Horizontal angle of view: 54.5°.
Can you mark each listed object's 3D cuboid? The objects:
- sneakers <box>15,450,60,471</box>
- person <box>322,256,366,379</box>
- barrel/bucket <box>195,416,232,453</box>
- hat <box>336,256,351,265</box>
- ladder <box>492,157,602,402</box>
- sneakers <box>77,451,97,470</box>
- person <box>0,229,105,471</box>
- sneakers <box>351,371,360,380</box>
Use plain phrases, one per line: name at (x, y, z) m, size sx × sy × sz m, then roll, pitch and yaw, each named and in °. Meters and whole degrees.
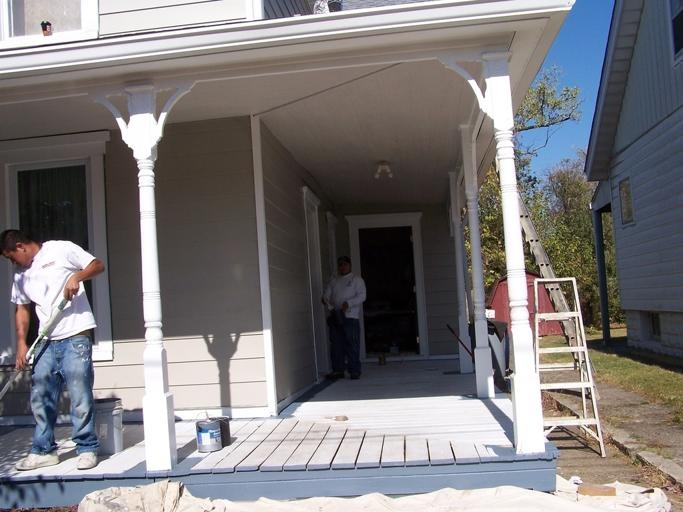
sneakers at (-2.613, 1.776, 5.728) m, size 0.350 × 0.165 × 0.150 m, roll 3°, pitch -6°, yaw -18°
person at (0.078, 0.892, 9.489) m, size 0.432 × 1.728 × 0.560 m, roll 0°, pitch -8°, yaw -30°
barrel/bucket at (-1.141, 1.597, 5.881) m, size 0.196 × 0.285 × 0.334 m, roll -3°, pitch -6°, yaw 20°
hat at (0.031, 0.072, 9.595) m, size 0.116 × 0.150 × 0.168 m, roll -8°, pitch -25°, yaw 26°
ladder at (3.957, 0.335, 12.502) m, size 0.764 × 6.072 × 0.866 m, roll -12°, pitch -17°, yaw 25°
sneakers at (-2.172, 1.749, 5.654) m, size 0.164 × 0.144 × 0.134 m, roll -1°, pitch -8°, yaw -26°
person at (-2.497, 0.785, 5.792) m, size 0.894 × 2.140 × 0.438 m, roll -5°, pitch -7°, yaw 7°
sneakers at (0.204, 1.701, 9.370) m, size 0.135 × 0.101 × 0.302 m, roll -5°, pitch -7°, yaw 1°
